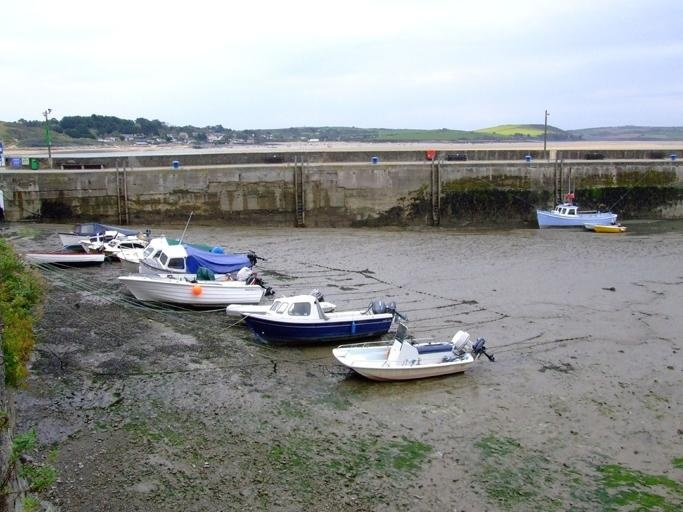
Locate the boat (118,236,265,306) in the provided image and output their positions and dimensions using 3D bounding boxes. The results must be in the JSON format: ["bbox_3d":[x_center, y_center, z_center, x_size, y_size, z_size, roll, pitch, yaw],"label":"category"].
[{"bbox_3d":[-5.183,1.145,20.442,4.328,1.648,2.466,2,18,-12],"label":"boat"}]

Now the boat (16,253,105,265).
[{"bbox_3d":[-11.781,0.164,24.602,3.245,0.620,0.904,-1,15,-16],"label":"boat"}]

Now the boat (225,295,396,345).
[{"bbox_3d":[-0.854,1.914,17.308,5.327,1.129,1.625,0,-1,-11],"label":"boat"}]

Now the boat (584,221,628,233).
[{"bbox_3d":[15.504,-1.514,33.829,1.601,0.313,0.924,2,8,2],"label":"boat"}]

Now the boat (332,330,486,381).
[{"bbox_3d":[1.900,2.807,15.643,4.794,1.163,1.422,-3,7,-14],"label":"boat"}]

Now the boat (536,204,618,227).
[{"bbox_3d":[14.784,-2.431,35.403,6.049,1.730,1.663,2,4,5],"label":"boat"}]
